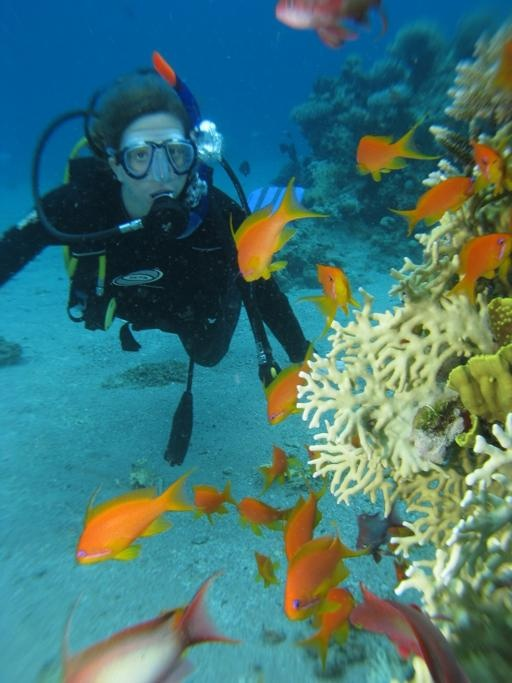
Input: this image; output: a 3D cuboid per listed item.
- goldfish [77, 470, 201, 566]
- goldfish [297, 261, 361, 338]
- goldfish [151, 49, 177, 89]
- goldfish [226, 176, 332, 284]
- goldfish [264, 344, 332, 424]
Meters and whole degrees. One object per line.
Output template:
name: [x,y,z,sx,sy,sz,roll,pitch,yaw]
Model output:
goldfish: [-0.586,0.847,2.667,0.627,0.316,0.142,-21,18,-27]
goldfish: [0.423,-0.261,3.106,0.306,0.350,0.590,-11,6,-1]
goldfish: [-0.642,-1.862,3.891,0.086,0.080,0.363,-2,-8,9]
goldfish: [0.096,-0.525,2.808,0.337,0.601,0.317,-11,23,-37]
goldfish: [0.198,0.257,3.025,0.233,0.459,0.085,39,18,25]
